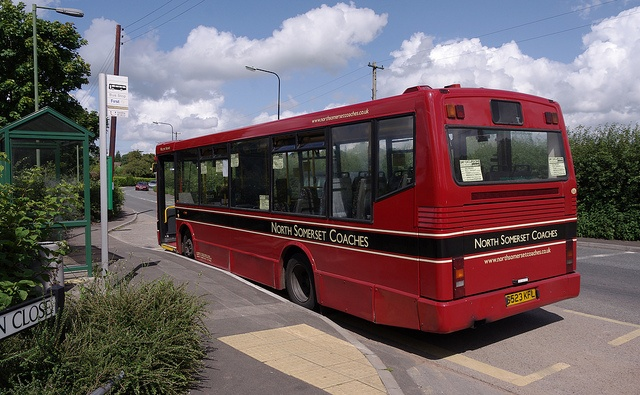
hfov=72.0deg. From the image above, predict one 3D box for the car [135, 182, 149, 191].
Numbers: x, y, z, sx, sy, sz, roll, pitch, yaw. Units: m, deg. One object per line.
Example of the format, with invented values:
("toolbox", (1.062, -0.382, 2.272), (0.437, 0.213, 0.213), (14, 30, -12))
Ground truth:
("car", (-34.006, -2.051, 84.023), (1.619, 1.242, 3.607), (-2, -1, -33))
